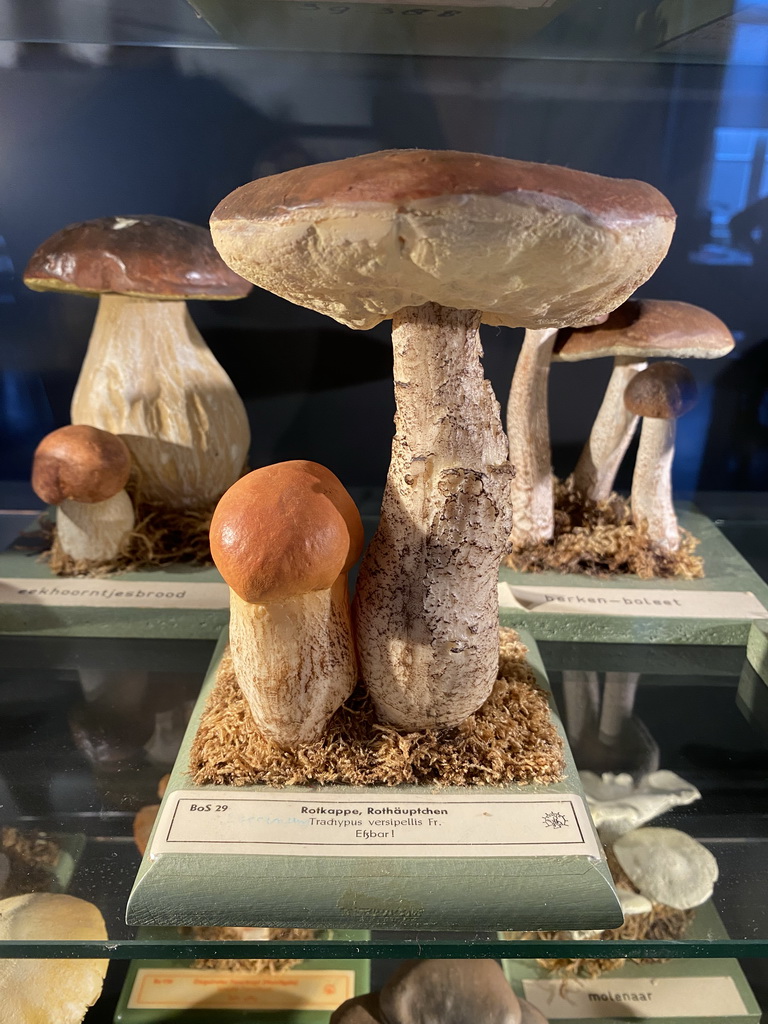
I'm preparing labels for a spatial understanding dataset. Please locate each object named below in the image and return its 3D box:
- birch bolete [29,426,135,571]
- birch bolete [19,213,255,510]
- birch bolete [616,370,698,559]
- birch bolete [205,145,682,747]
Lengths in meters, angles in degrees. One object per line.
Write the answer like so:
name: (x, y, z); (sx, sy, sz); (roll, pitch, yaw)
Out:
birch bolete: (-0.370, -0.014, 1.247); (0.139, 0.174, 0.128); (-13, 37, -33)
birch bolete: (-0.297, -0.196, 1.370); (0.457, 0.440, 0.382); (0, 9, -2)
birch bolete: (0.367, -0.066, 1.318); (0.113, 0.234, 0.107); (3, 14, 42)
birch bolete: (0.027, -0.044, 0.855); (0.386, 0.433, 0.397); (3, -2, -45)
